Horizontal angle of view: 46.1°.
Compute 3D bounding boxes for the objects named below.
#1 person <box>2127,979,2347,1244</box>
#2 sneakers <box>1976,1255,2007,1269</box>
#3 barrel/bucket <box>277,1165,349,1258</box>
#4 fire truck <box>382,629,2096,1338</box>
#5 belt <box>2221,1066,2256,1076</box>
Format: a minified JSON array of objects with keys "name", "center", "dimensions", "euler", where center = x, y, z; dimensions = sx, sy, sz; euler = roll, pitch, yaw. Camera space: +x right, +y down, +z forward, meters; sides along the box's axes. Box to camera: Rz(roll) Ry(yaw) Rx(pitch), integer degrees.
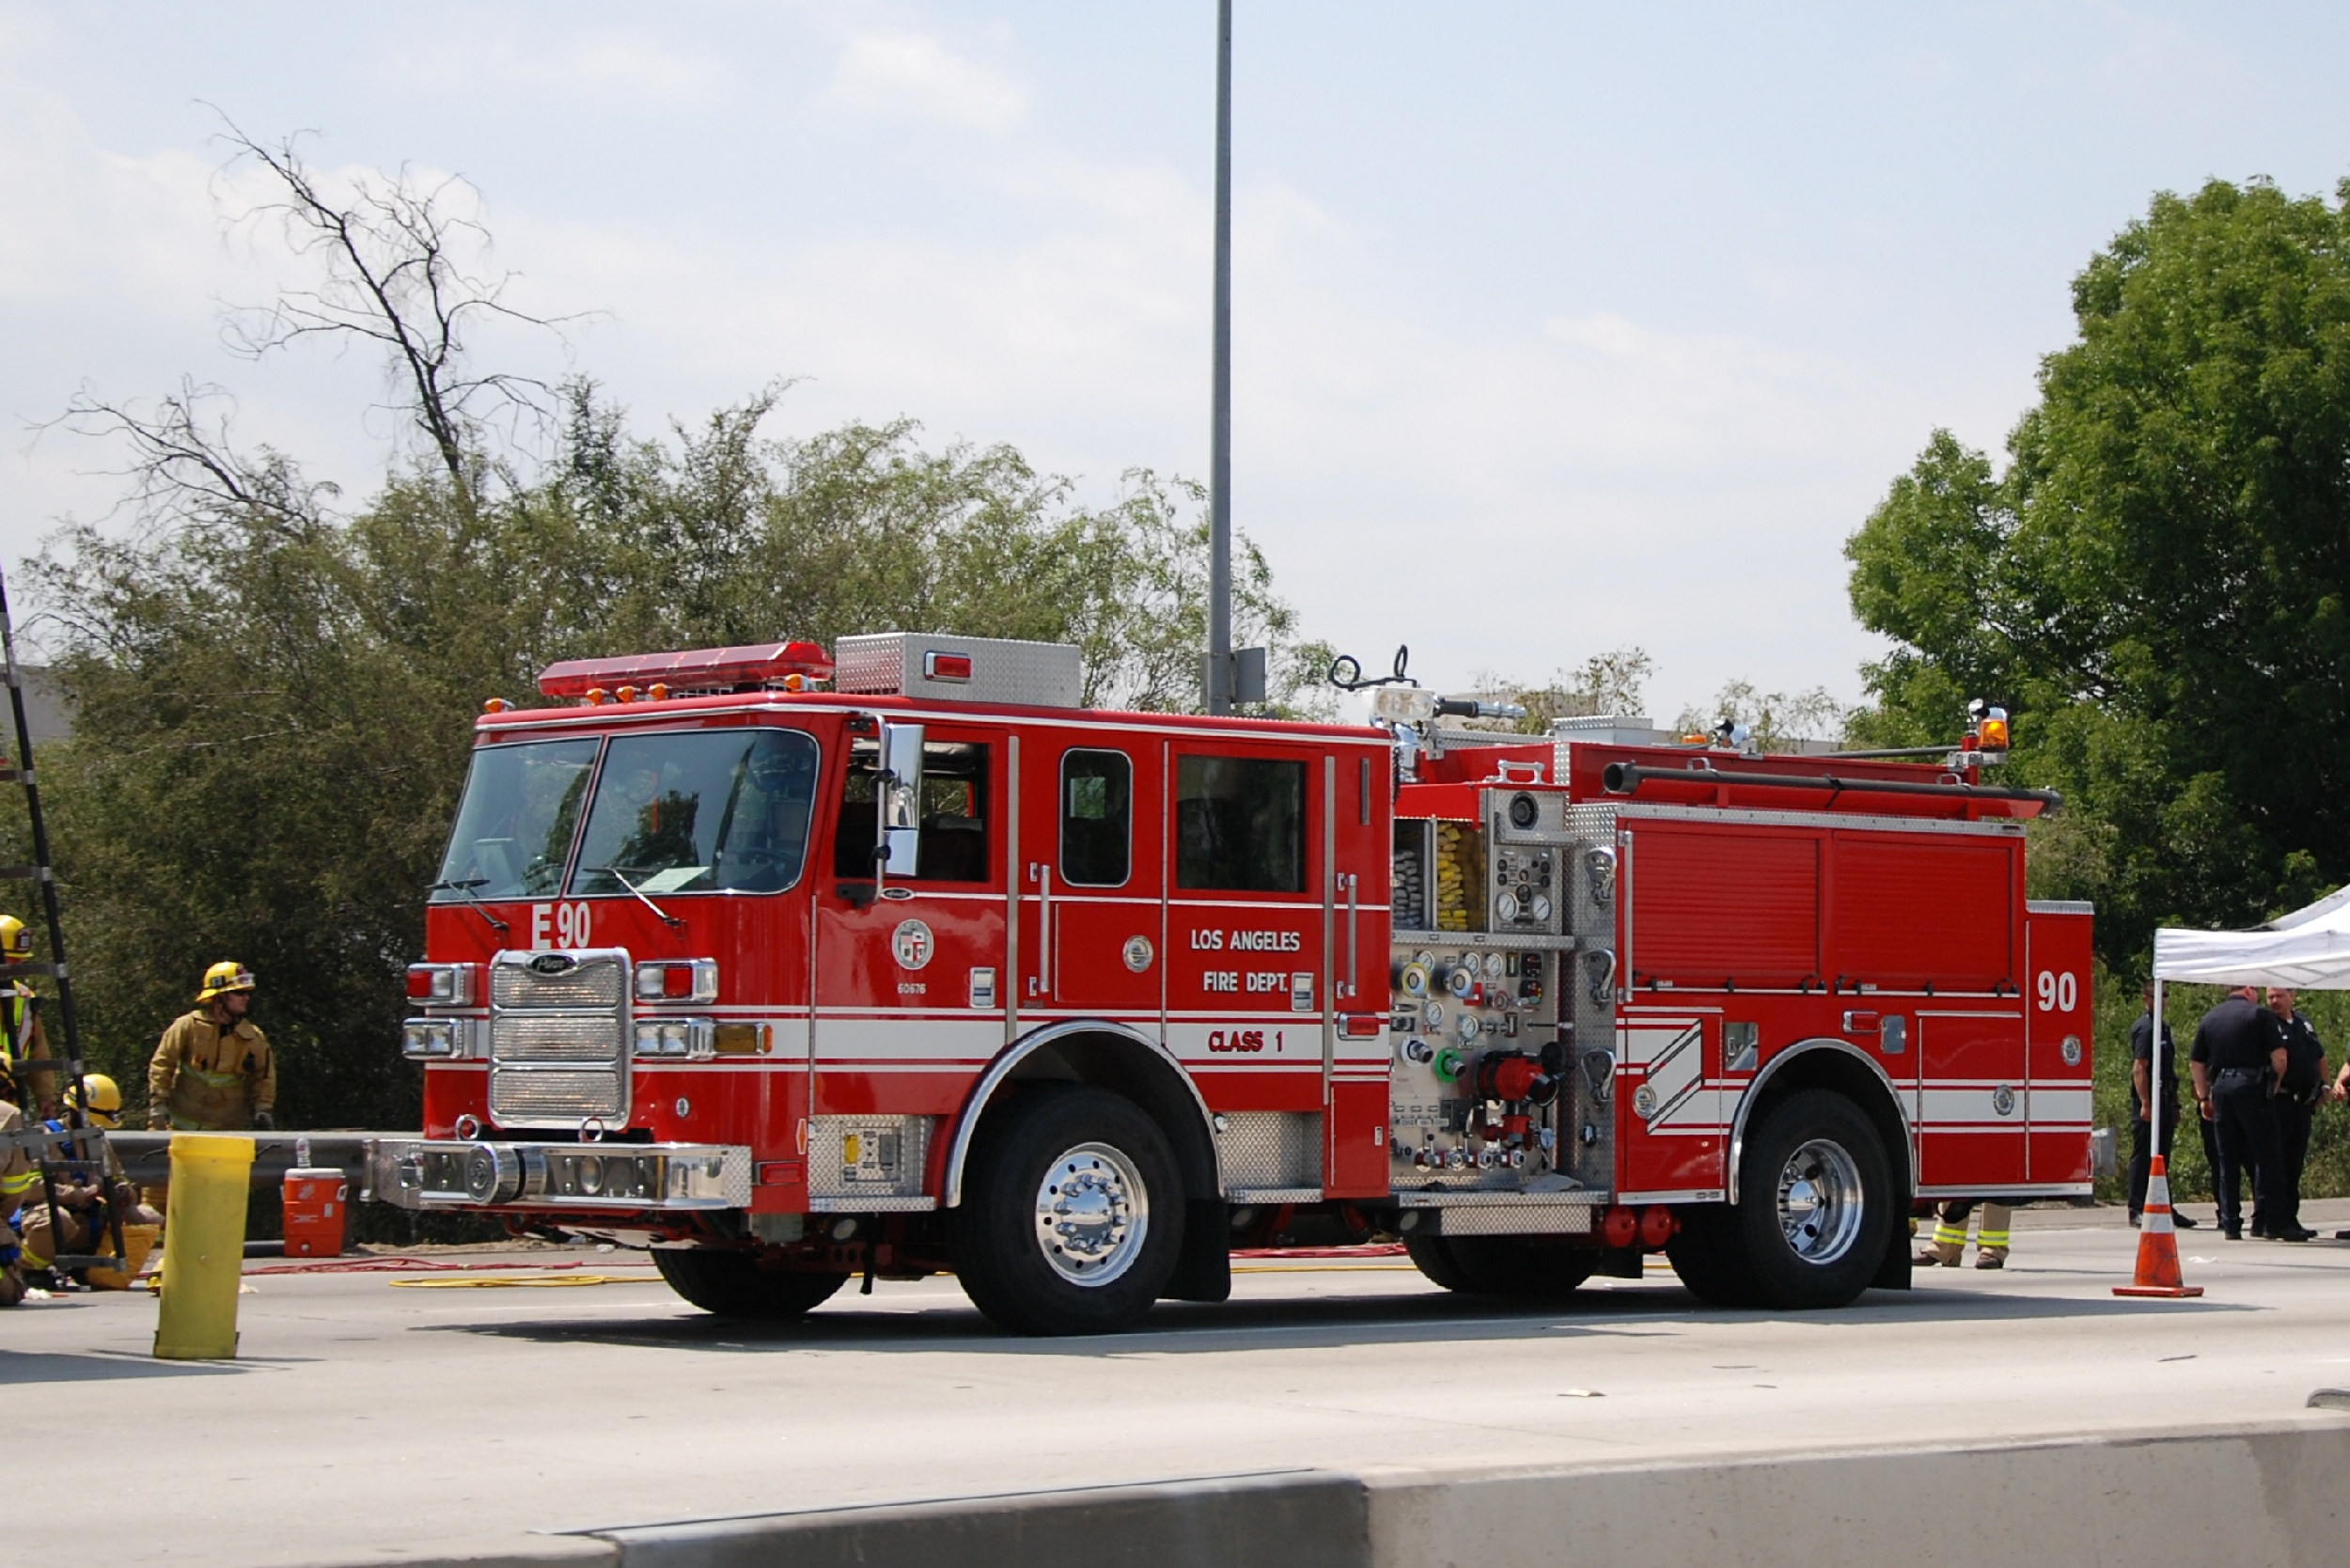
[{"name":"person","center":[10.593,3.266,26.958],"dimensions":[1.047,2.479,1.574],"euler":[5,3,37]},{"name":"sneakers","center":[6.973,4.071,23.499],"dimensions":[0.176,0.112,0.181],"euler":[-1,-5,8]},{"name":"barrel/bucket","center":[-6.935,3.440,22.187],"dimensions":[0.458,0.795,0.645],"euler":[2,3,-19]},{"name":"fire truck","center":[1.157,1.486,18.950],"dimensions":[12.654,4.586,3.202],"euler":[2,3,-29]},{"name":"belt","center":[10.172,2.760,26.376],"dimensions":[0.291,0.101,0.086],"euler":[5,3,35]}]
